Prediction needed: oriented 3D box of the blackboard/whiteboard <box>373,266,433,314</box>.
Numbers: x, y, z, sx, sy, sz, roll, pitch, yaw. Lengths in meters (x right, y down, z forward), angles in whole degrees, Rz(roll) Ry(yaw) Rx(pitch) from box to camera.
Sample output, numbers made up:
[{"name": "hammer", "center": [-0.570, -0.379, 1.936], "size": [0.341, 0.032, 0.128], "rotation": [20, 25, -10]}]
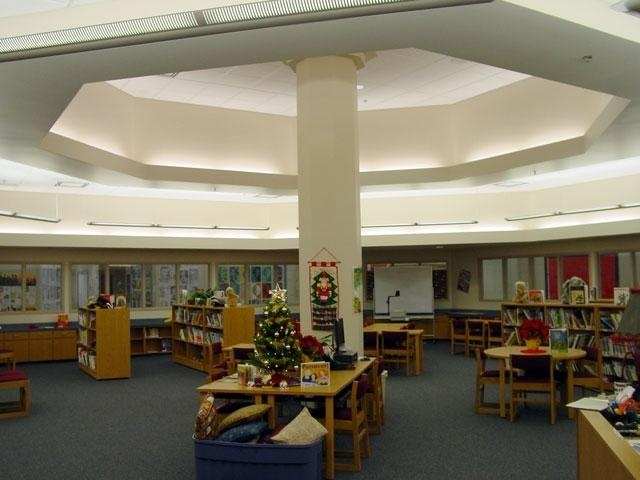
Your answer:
[{"name": "blackboard/whiteboard", "center": [2.727, 1.664, 15.355], "size": [1.528, 1.297, 0.097], "rotation": [0, -8, 1]}]

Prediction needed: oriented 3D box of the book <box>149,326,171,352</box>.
[{"name": "book", "center": [-4.851, 2.981, 14.341], "size": [0.791, 0.740, 0.259], "rotation": [1, -5, -13]}]

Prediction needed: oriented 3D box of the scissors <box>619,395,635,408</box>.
[{"name": "scissors", "center": [2.549, 1.342, 3.950], "size": [0.105, 0.036, 0.074], "rotation": [-4, -2, -30]}]
